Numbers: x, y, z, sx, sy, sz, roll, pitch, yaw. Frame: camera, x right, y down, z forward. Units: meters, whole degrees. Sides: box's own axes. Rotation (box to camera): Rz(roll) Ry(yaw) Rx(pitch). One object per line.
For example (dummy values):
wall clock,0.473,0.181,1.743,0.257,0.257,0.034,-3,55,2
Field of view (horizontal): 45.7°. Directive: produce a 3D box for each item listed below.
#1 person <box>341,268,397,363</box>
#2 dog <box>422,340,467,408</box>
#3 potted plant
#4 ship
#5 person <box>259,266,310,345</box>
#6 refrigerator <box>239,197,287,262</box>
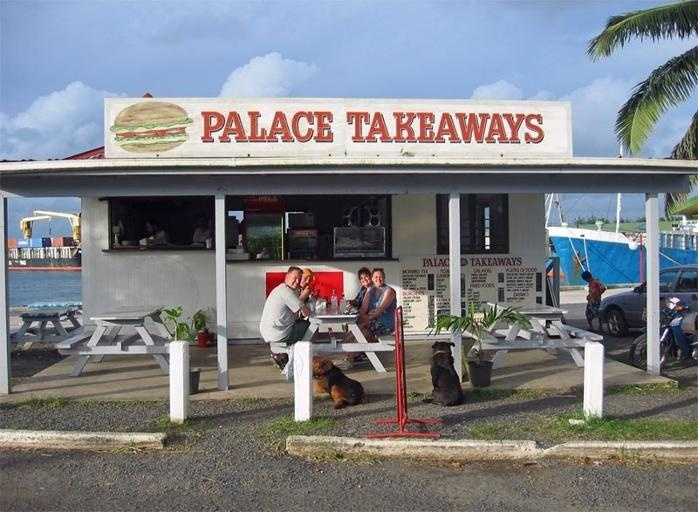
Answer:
person,0.320,0.947,14.305,0.758,1.627,0.893,4,5,-2
dog,1.400,1.748,12.274,0.486,0.977,0.457,2,-6,-8
potted plant,2.176,1.583,13.476,1.345,1.523,1.282,3,4,11
ship,-24.509,-0.407,67.364,3.468,5.377,3.622,5,3,-2
person,-1.004,0.821,13.294,0.794,1.235,0.657,-6,16,-20
refrigerator,-2.270,-0.553,17.004,1.040,2.073,1.077,-1,-2,1
